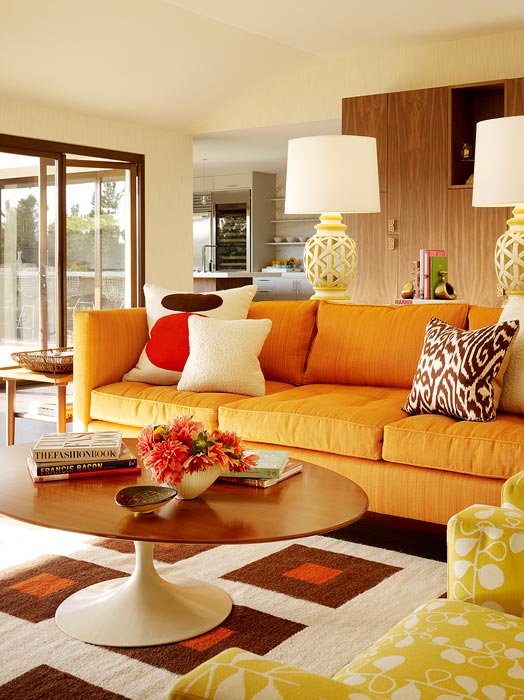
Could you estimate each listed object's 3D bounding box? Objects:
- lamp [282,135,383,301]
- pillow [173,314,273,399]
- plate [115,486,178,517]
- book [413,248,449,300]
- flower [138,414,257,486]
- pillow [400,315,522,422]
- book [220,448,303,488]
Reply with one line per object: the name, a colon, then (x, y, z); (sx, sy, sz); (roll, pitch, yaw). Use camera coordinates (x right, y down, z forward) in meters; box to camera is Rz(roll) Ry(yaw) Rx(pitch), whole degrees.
lamp: (0.435, -0.862, 3.456); (0.537, 1.120, 0.596); (1, -2, 20)
pillow: (-0.226, 0.042, 2.991); (0.423, 0.381, 0.158); (3, -21, 8)
plate: (-0.285, 0.369, 1.397); (0.144, 0.042, 0.115); (2, -2, -11)
book: (1.106, -0.491, 3.693); (0.226, 0.339, 0.178); (2, -2, -2)
flower: (-0.176, 0.240, 1.485); (0.206, 0.109, 0.200); (-1, -5, 32)
pillow: (0.829, 0.087, 2.389); (0.189, 0.407, 0.427); (3, -2, -36)
book: (-0.008, 0.329, 1.675); (0.139, 0.031, 0.136); (3, 6, 38)
